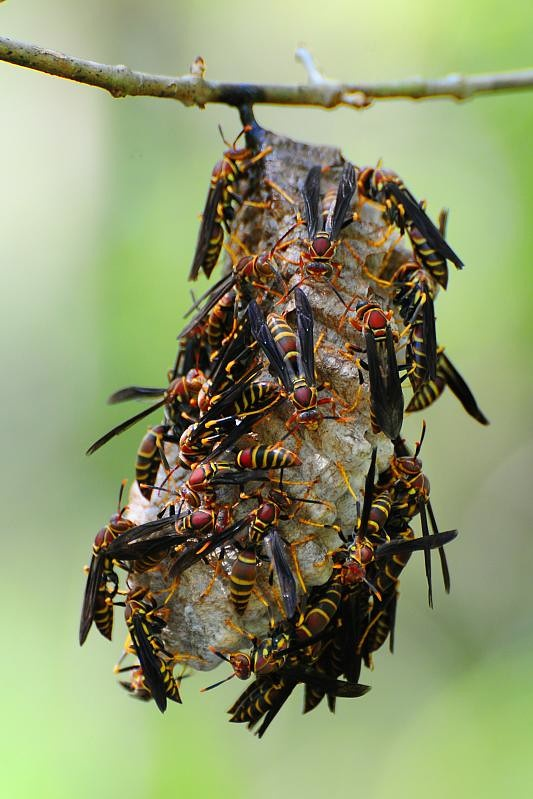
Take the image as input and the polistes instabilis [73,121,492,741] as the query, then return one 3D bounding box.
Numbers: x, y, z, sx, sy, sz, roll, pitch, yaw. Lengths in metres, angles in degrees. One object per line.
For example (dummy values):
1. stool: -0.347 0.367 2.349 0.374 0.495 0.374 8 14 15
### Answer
1. polistes instabilis: 0.019 0.097 1.703 0.548 0.549 0.997 0 -73 -9
